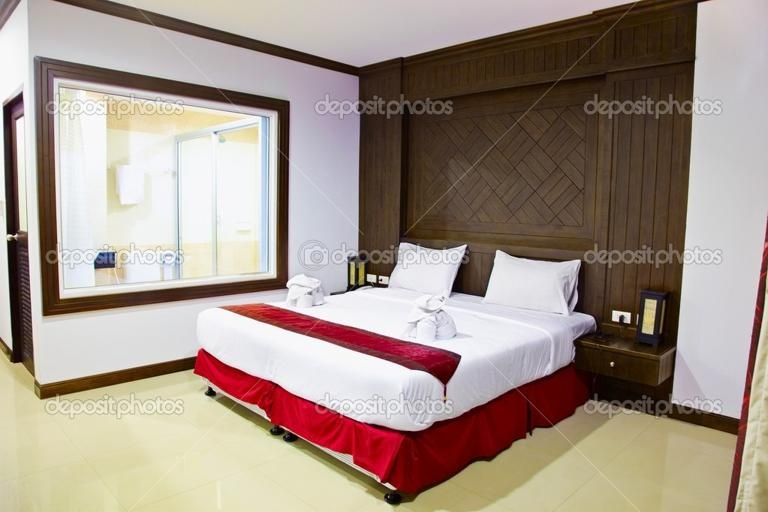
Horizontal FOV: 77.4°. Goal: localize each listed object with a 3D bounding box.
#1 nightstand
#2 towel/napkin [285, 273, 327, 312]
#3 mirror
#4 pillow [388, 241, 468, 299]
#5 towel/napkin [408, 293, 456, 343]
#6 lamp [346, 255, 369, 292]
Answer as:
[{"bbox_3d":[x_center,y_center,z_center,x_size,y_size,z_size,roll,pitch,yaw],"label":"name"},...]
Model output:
[{"bbox_3d":[2.166,0.917,4.272,0.538,0.290,0.680,-3,6,-39],"label":"nightstand"},{"bbox_3d":[-0.750,0.354,4.696,0.314,0.156,0.318,7,9,32],"label":"towel/napkin"},{"bbox_3d":[-2.103,-0.618,5.116,0.139,2.269,2.560,12,13,41],"label":"mirror"},{"bbox_3d":[0.447,0.125,5.421,0.823,0.551,0.462,10,14,32],"label":"pillow"},{"bbox_3d":[0.398,0.487,3.945,0.503,0.349,0.299,-1,5,-44],"label":"towel/napkin"},{"bbox_3d":[-0.331,0.210,6.112,0.267,0.407,0.362,2,12,-4],"label":"lamp"}]
